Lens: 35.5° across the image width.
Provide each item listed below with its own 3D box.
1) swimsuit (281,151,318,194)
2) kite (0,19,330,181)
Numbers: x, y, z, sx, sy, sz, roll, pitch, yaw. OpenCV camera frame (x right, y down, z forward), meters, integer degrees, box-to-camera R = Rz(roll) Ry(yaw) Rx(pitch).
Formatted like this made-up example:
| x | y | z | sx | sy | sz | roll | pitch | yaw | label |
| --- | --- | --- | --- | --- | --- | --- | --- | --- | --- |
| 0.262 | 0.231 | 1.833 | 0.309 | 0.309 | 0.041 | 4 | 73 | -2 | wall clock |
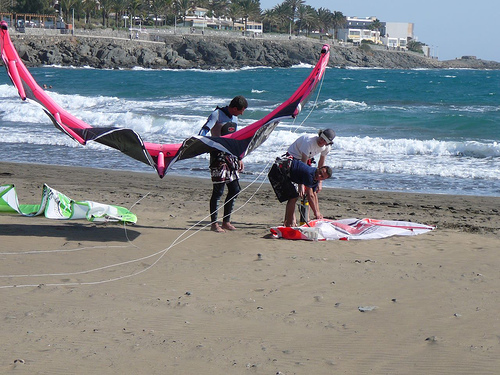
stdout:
| x | y | z | sx | sy | sz | roll | pitch | yaw | label |
| --- | --- | --- | --- | --- | --- | --- | --- | --- | --- |
| 0.919 | -0.248 | 13.030 | 0.649 | 0.625 | 0.581 | -1 | 18 | -28 | swimsuit |
| -1.466 | -1.329 | 12.465 | 5.172 | 2.397 | 1.650 | 3 | 12 | 0 | kite |
